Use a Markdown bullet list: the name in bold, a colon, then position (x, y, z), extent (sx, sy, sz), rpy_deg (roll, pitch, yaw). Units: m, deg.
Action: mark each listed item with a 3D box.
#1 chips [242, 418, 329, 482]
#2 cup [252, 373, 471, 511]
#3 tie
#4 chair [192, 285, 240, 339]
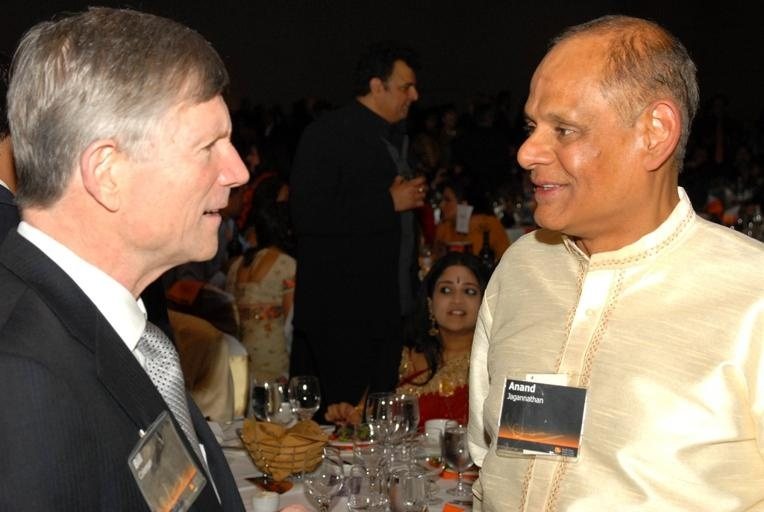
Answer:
- **chips**: position (-0.344, 0.685, 2.556), extent (0.205, 0.143, 0.198), rpy_deg (-12, 18, -40)
- **cup**: position (-0.066, 0.699, 2.728), extent (0.522, 0.330, 0.554), rpy_deg (7, 14, -2)
- **tie**: position (-0.499, 0.390, 1.822), extent (0.102, 0.591, 0.153), rpy_deg (-21, -4, 0)
- **chair**: position (-0.974, 0.311, 4.310), extent (0.228, 0.289, 0.244), rpy_deg (-1, 21, -33)
